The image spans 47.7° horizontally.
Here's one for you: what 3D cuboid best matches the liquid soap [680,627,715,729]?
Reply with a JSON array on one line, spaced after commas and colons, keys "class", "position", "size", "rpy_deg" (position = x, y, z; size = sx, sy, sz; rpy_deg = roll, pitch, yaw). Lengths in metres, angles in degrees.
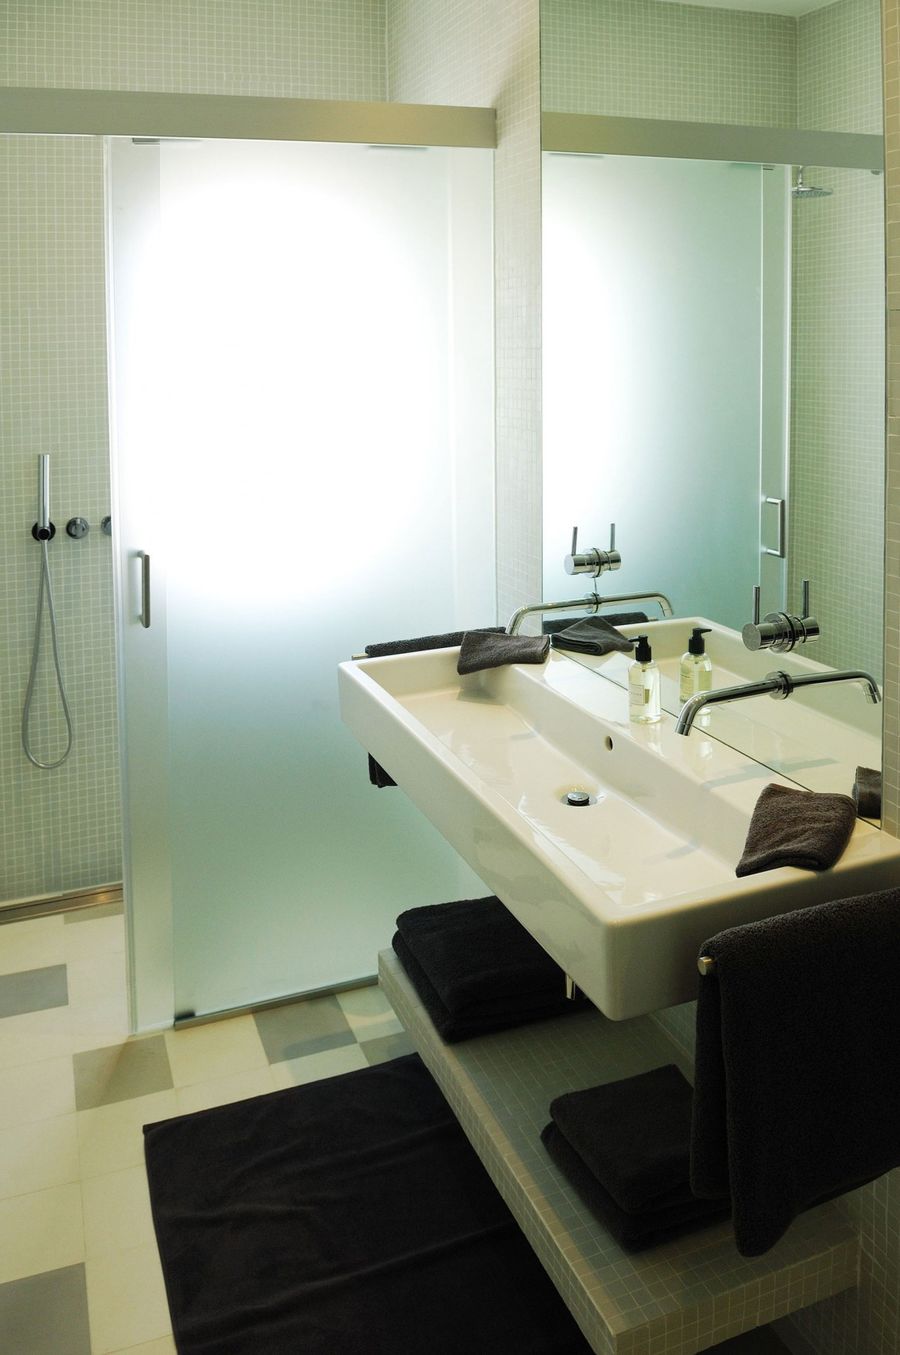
[{"class": "liquid soap", "position": [0.431, -0.017, 1.782], "size": [0.048, 0.162, 0.050], "rpy_deg": [-13, 29, -12]}]
